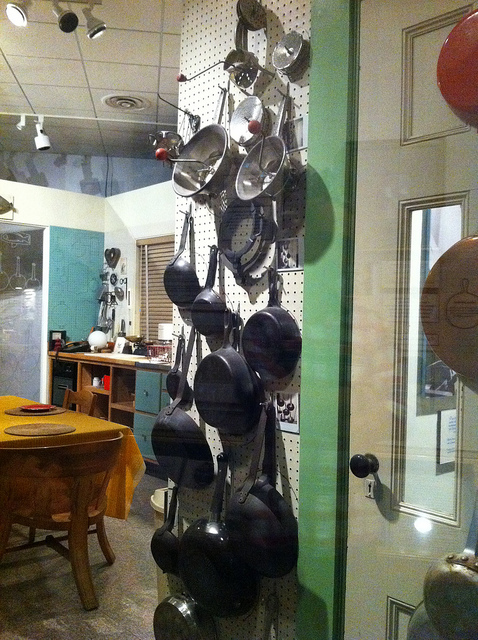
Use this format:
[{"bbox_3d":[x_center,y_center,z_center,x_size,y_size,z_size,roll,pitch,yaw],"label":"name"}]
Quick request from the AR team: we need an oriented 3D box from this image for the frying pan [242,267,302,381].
[{"bbox_3d":[0.074,0.013,1.163,0.038,0.227,0.136,3,-1,-33],"label":"frying pan"}]

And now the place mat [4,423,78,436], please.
[{"bbox_3d":[-0.607,0.337,1.674,0.206,0.034,0.119,5,-2,-8],"label":"place mat"}]

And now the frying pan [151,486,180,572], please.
[{"bbox_3d":[-0.197,0.573,1.477,0.034,0.200,0.110,6,-5,-29],"label":"frying pan"}]

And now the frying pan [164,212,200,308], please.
[{"bbox_3d":[-0.154,-0.161,1.458,0.037,0.239,0.129,3,5,-27],"label":"frying pan"}]
